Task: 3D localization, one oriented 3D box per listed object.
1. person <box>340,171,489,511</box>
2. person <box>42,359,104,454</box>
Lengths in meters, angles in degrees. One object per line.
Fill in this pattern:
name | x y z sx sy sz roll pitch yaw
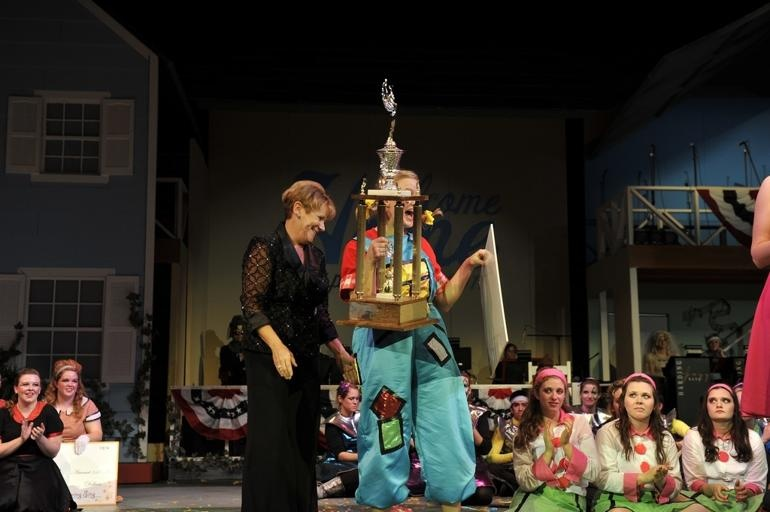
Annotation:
person | 0.221 0.704 7.162 1.187 2.836 0.663 1 -10 -4
person | -3.537 1.673 9.718 0.490 1.094 0.493 3 -3 -21
